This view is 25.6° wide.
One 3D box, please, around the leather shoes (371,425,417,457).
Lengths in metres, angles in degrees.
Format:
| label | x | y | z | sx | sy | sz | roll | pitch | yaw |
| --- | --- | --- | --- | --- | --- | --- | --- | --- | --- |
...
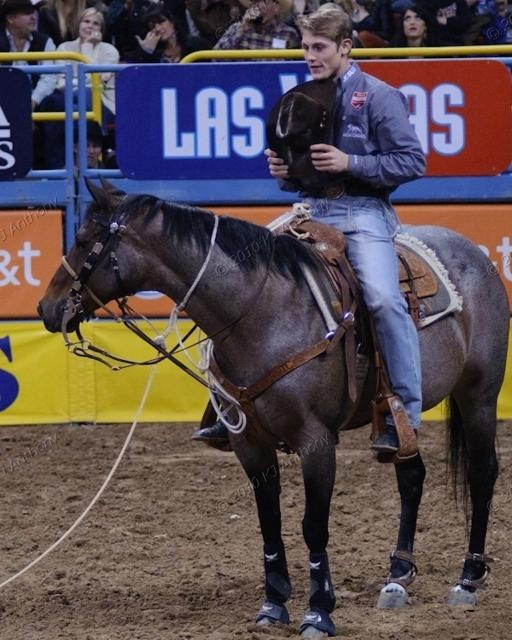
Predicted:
| label | x | y | z | sx | sy | sz | roll | pitch | yaw |
| --- | --- | --- | --- | --- | --- | --- | --- | --- | --- |
| leather shoes | 0.608 | 0.561 | 5.161 | 0.227 | 0.178 | 0.121 | 8 | -23 | -9 |

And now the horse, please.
| label | x | y | z | sx | sy | sz | roll | pitch | yaw |
| --- | --- | --- | --- | --- | --- | --- | --- | --- | --- |
| horse | 0.282 | 0.381 | 5.277 | 2.281 | 2.090 | 0.824 | -7 | 13 | -26 |

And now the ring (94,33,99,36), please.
| label | x | y | z | sx | sy | sz | roll | pitch | yaw |
| --- | --- | --- | --- | --- | --- | --- | --- | --- | --- |
| ring | -1.284 | -2.280 | 9.070 | 0.043 | 0.031 | 0.009 | -1 | -5 | -9 |

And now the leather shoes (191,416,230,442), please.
| label | x | y | z | sx | sy | sz | roll | pitch | yaw |
| --- | --- | --- | --- | --- | --- | --- | --- | --- | --- |
| leather shoes | -0.212 | 0.552 | 5.509 | 0.260 | 0.087 | 0.079 | 2 | -4 | 1 |
